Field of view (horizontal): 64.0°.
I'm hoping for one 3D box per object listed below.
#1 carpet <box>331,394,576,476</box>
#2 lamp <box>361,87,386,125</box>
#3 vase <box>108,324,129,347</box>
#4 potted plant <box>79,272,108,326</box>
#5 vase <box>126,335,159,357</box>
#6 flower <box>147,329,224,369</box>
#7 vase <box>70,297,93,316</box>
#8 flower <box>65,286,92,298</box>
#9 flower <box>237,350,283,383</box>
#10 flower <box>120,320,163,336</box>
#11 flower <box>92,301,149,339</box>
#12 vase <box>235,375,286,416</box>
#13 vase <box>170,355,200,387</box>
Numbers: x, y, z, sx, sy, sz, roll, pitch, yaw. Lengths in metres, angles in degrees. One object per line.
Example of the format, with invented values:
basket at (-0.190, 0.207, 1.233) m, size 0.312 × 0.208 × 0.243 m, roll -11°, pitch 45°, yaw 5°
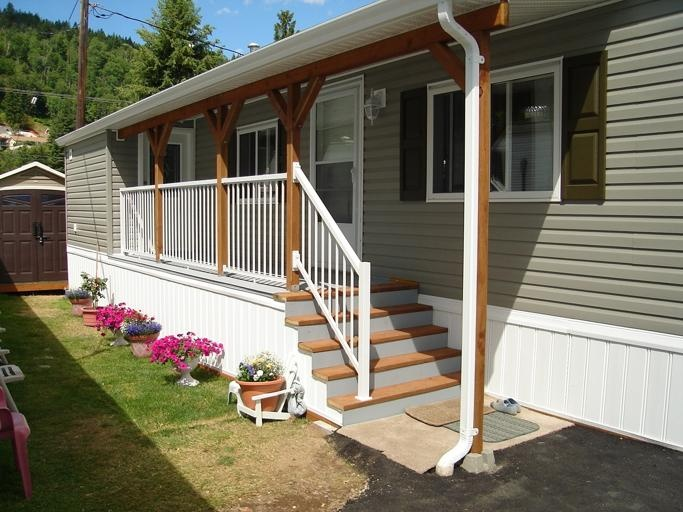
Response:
carpet at (1.083, 1.746, 5.500) m, size 2.100 × 0.096 × 1.001 m, roll -5°, pitch 9°, yaw -24°
lamp at (0.437, -2.049, 7.486) m, size 0.155 × 0.481 × 0.394 m, roll -6°, pitch 10°, yaw -35°
vase at (-3.687, 1.301, 9.001) m, size 0.317 × 0.341 × 0.322 m, roll -3°, pitch 5°, yaw -36°
potted plant at (-4.981, 0.913, 11.135) m, size 0.501 × 1.016 × 0.725 m, roll 3°, pitch -2°, yaw 19°
vase at (-3.017, 1.349, 8.246) m, size 0.419 × 0.315 × 0.429 m, roll 0°, pitch -1°, yaw -20°
flower at (-2.003, 1.306, 7.223) m, size 0.852 × 0.613 × 0.911 m, roll -1°, pitch 8°, yaw -4°
vase at (-5.348, 0.991, 11.144) m, size 0.453 × 0.336 × 0.466 m, roll 0°, pitch 0°, yaw -11°
flower at (-5.616, 0.758, 11.666) m, size 0.419 × 0.206 × 0.397 m, roll 1°, pitch -1°, yaw 33°
flower at (-0.898, 1.242, 6.134) m, size 0.314 × 0.208 × 0.422 m, roll 0°, pitch 4°, yaw -13°
flower at (-3.033, 1.094, 8.287) m, size 0.347 × 0.168 × 0.359 m, roll 1°, pitch 1°, yaw -3°
flower at (-3.686, 1.003, 9.001) m, size 0.776 × 0.587 × 0.749 m, roll 2°, pitch -1°, yaw -28°
vase at (-0.904, 1.486, 6.114) m, size 0.611 × 0.399 × 0.618 m, roll 6°, pitch -9°, yaw -20°
vase at (-2.012, 1.474, 6.988) m, size 0.338 × 0.308 × 0.347 m, roll 0°, pitch 6°, yaw -12°
